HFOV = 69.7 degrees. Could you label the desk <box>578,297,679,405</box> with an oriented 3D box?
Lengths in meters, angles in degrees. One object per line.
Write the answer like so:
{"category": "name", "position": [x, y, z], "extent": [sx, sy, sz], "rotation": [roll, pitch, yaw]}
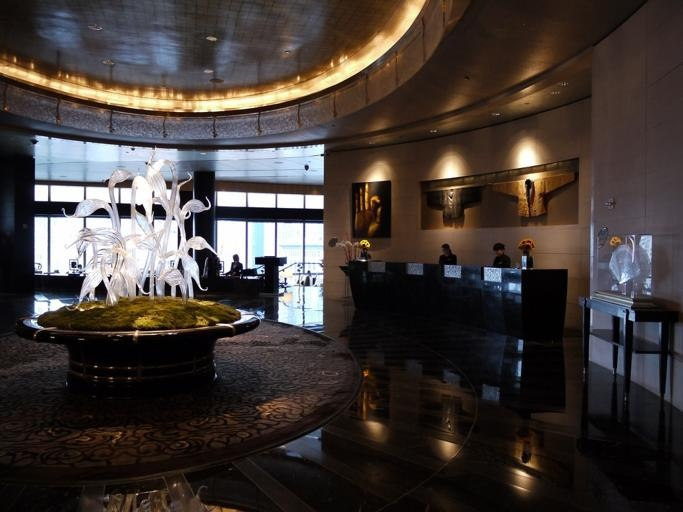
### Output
{"category": "desk", "position": [3.351, 1.149, 5.824], "extent": [0.487, 0.950, 1.170], "rotation": [2, -1, -3]}

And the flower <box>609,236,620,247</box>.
{"category": "flower", "position": [3.297, -0.190, 6.070], "extent": [0.117, 0.111, 0.151], "rotation": [-18, 7, 26]}

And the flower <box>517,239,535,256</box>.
{"category": "flower", "position": [3.318, -0.176, 9.052], "extent": [0.319, 0.320, 0.320], "rotation": [5, 9, 33]}
